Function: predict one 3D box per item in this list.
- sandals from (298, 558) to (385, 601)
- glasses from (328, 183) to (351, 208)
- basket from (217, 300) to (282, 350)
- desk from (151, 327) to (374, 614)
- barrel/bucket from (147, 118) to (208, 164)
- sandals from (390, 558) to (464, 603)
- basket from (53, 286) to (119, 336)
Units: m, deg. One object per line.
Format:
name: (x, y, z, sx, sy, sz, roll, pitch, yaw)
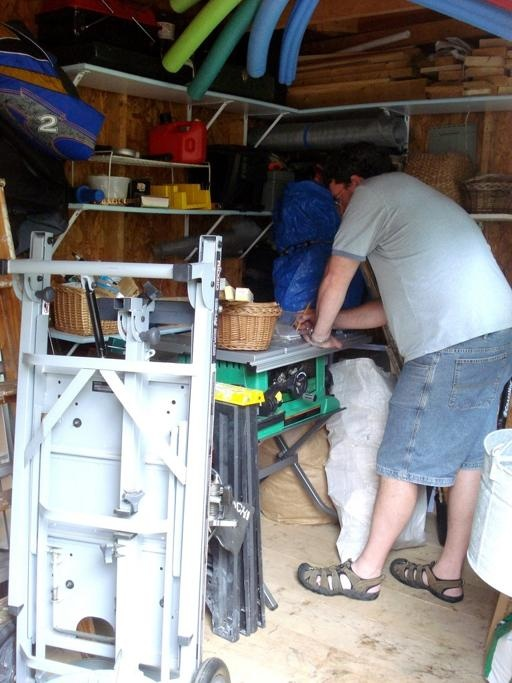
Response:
sandals: (0.347, 0.922, 2.248, 0.317, 0.128, 0.133, 7, 2, 10)
glasses: (0.357, -0.618, 2.350, 0.086, 0.100, 0.077, -4, 5, -11)
basket: (-0.048, -0.063, 2.083, 0.264, 0.154, 0.248, 0, -1, 22)
desk: (-0.062, 0.318, 2.648, 1.000, 1.063, 1.170, 12, 19, 35)
barrel/bucket: (-0.421, -1.087, 3.056, 0.192, 0.220, 0.336, -12, 22, -43)
sandals: (0.689, 0.954, 2.306, 0.281, 0.104, 0.110, 18, 40, 33)
basket: (-0.667, -0.123, 2.315, 0.286, 0.173, 0.249, 16, 9, 41)
